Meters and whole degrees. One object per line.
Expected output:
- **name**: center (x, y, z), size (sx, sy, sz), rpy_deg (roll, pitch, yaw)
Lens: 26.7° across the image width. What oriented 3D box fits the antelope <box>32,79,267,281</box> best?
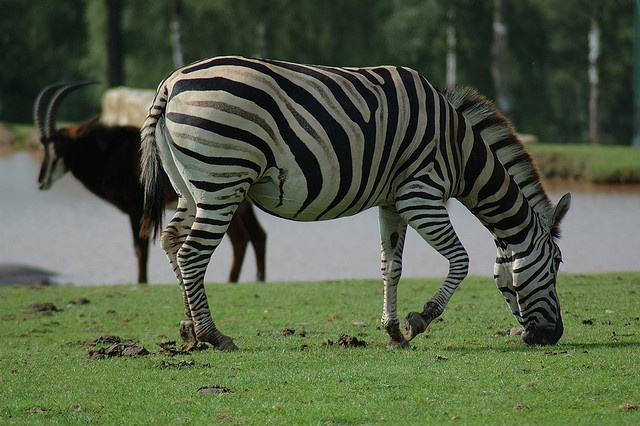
- **antelope**: center (-3.974, -0.700, 32.532), size (5.313, 5.015, 1.714), rpy_deg (1, 8, -10)
